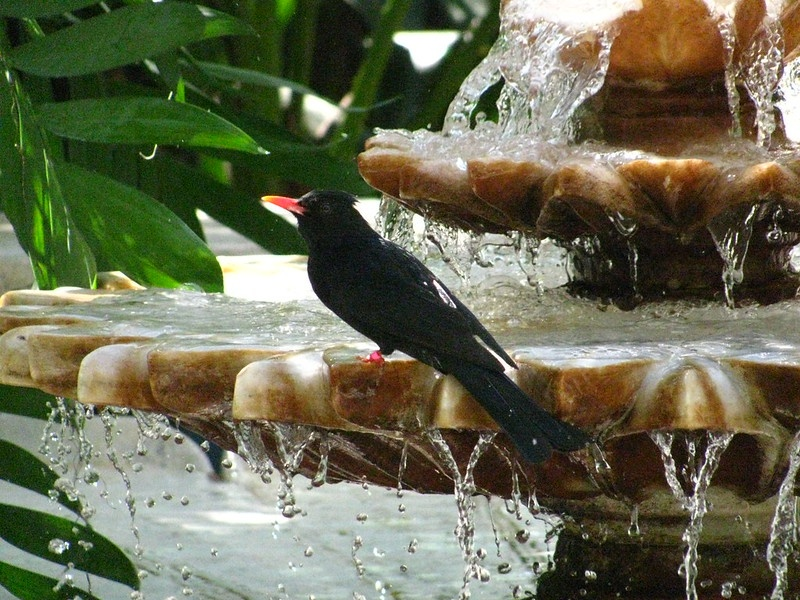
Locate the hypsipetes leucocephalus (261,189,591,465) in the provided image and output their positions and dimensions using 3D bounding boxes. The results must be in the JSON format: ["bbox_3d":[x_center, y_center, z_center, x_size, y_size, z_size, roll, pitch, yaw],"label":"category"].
[{"bbox_3d":[0.037,0.053,5.563,0.435,0.725,1.227,-7,10,-31],"label":"hypsipetes leucocephalus"}]
